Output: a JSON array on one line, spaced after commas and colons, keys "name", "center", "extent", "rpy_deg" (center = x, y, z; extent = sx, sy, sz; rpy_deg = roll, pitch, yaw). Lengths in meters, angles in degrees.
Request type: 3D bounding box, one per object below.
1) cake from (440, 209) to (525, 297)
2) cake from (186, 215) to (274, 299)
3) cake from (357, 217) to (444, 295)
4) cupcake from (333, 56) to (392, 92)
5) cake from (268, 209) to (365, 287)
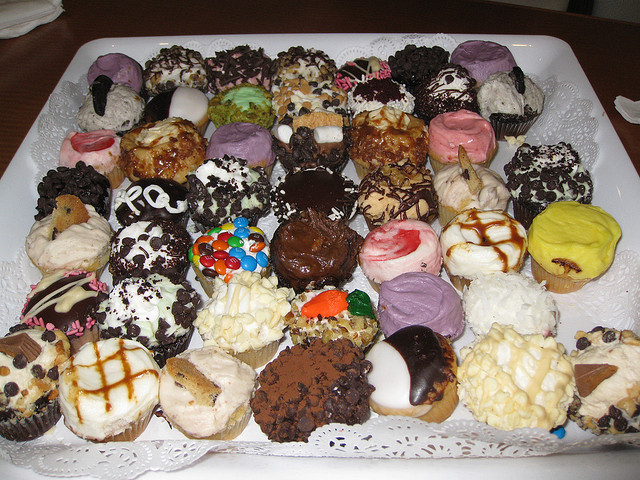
[{"name": "cake", "center": [1.293, 0.057, 5.015], "extent": [0.677, 0.641, 0.658], "rpy_deg": [-10, 53, 4]}, {"name": "cake", "center": [-0.733, 0.052, 4.883], "extent": [0.631, 0.586, 0.635], "rpy_deg": [3, 57, 2]}, {"name": "cake", "center": [0.679, 0.102, 5.000], "extent": [0.623, 0.559, 0.614], "rpy_deg": [-13, 47, 12]}, {"name": "cupcake", "center": [0.416, -1.731, 6.125], "extent": [0.460, 0.147, 0.382], "rpy_deg": [-16, 53, -1]}, {"name": "cake", "center": [-0.054, 0.105, 4.825], "extent": [0.730, 0.487, 0.536], "rpy_deg": [10, 50, 8]}]
